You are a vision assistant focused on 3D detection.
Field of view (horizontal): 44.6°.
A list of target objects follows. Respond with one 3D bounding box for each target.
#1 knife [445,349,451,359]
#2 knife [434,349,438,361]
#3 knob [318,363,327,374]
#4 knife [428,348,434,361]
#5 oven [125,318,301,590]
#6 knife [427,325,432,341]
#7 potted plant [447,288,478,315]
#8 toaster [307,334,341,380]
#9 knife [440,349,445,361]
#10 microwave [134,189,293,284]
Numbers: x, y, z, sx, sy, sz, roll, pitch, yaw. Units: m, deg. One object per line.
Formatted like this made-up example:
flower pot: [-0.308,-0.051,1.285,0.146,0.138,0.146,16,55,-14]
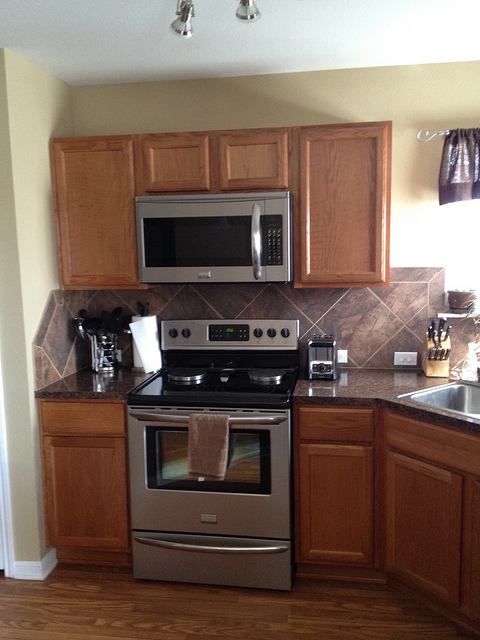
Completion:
knife: [0.973,0.159,2.756,0.012,0.048,0.017,9,16,-40]
knife: [0.928,0.166,2.778,0.015,0.050,0.009,-4,11,-5]
knob: [0.387,0.230,2.774,0.052,0.065,0.035,1,0,14]
knife: [0.903,0.163,2.789,0.020,0.061,0.006,0,12,17]
oven: [-0.086,0.574,2.862,0.985,1.077,0.960,-5,11,-24]
knife: [0.921,0.065,2.854,0.020,0.071,0.023,-18,16,-36]
potted plant: [1.077,-0.090,2.831,0.135,0.092,0.129,1,-1,-9]
toaster: [0.418,0.181,2.893,0.185,0.209,0.253,1,4,12]
knife: [0.952,0.165,2.767,0.013,0.052,0.015,4,7,-17]
microwave: [-0.072,-0.389,2.907,0.803,0.450,0.472,2,9,22]
